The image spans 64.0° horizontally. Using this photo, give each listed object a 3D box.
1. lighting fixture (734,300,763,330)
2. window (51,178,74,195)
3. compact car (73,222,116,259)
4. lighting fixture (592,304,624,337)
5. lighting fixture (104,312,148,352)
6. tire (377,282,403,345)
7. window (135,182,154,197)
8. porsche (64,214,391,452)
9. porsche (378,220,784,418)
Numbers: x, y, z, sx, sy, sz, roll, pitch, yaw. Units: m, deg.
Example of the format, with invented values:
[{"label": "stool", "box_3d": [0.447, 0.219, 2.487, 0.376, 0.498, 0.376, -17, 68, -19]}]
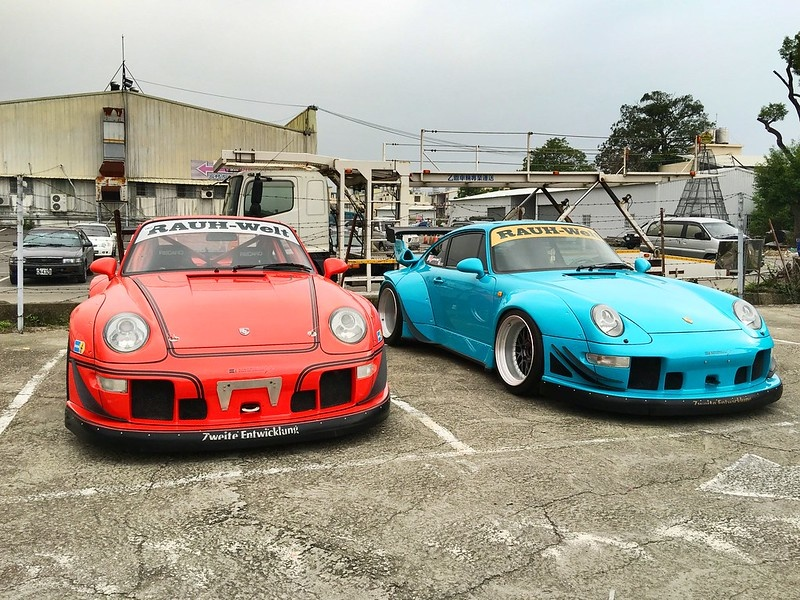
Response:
[{"label": "lighting fixture", "box_3d": [2.728, 0.108, 5.019, 0.216, 0.185, 0.398, 6, 12, 26]}, {"label": "window", "box_3d": [-17.616, -6.075, 33.437, 1.174, 0.938, 0.570, 1, 9, -12]}, {"label": "compact car", "box_3d": [-8.599, -1.779, 18.247, 1.107, 0.708, 2.371, -1, 4, -19]}, {"label": "lighting fixture", "box_3d": [1.505, 0.145, 4.643, 0.218, 0.214, 0.053, -15, -30, -17]}, {"label": "lighting fixture", "box_3d": [-1.633, 0.195, 3.848, 0.235, 0.187, 0.275, -8, 14, -38]}, {"label": "tire", "box_3d": [-0.021, 0.185, 7.475, 0.260, 0.590, 0.653, 1, -1, -19]}, {"label": "window", "box_3d": [-13.708, -6.104, 34.454, 0.955, 0.575, 0.067, 0, 7, -27]}, {"label": "porsche", "box_3d": [-1.245, 0.071, 4.605, 2.013, 1.278, 2.156, -3, 11, -17]}, {"label": "porsche", "box_3d": [1.456, -0.112, 6.368, 2.351, 1.199, 4.063, -4, 11, -28]}]
